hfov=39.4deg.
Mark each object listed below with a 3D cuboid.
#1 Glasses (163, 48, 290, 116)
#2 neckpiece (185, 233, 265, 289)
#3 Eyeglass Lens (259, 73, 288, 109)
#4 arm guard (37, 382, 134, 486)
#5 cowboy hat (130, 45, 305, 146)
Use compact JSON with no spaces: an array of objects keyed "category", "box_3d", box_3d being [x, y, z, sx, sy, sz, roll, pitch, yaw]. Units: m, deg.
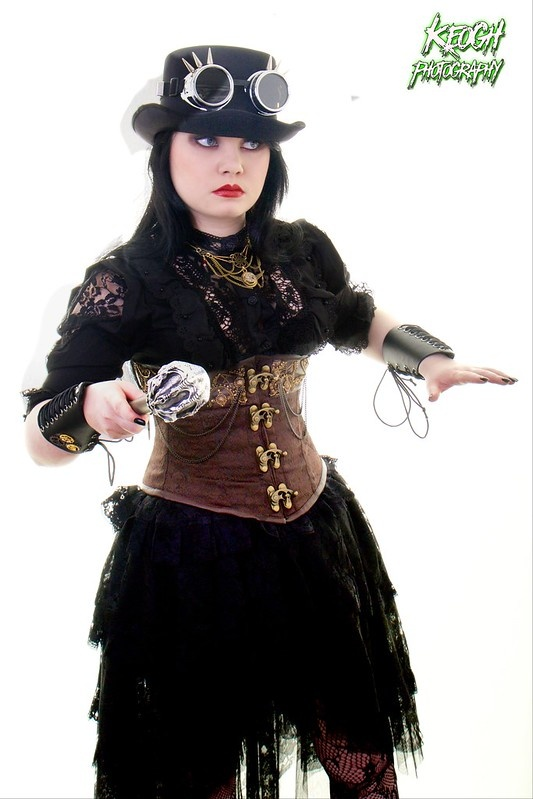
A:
[{"category":"Glasses","box_3d":[-0.057,-0.618,1.523,0.160,0.091,0.201,-2,10,-35]},{"category":"neckpiece","box_3d":[-0.065,-0.315,1.626,0.179,0.024,0.187,-2,-15,-1]},{"category":"Eyeglass Lens","box_3d":[0.009,-0.642,1.568,0.018,0.072,0.076,6,13,42]},{"category":"arm guard","box_3d":[-0.359,0.053,1.374,0.194,0.134,0.191,3,-27,-34]},{"category":"cowboy hat","box_3d":[-0.087,-0.636,1.545,0.247,0.130,0.271,-1,2,-27]}]
